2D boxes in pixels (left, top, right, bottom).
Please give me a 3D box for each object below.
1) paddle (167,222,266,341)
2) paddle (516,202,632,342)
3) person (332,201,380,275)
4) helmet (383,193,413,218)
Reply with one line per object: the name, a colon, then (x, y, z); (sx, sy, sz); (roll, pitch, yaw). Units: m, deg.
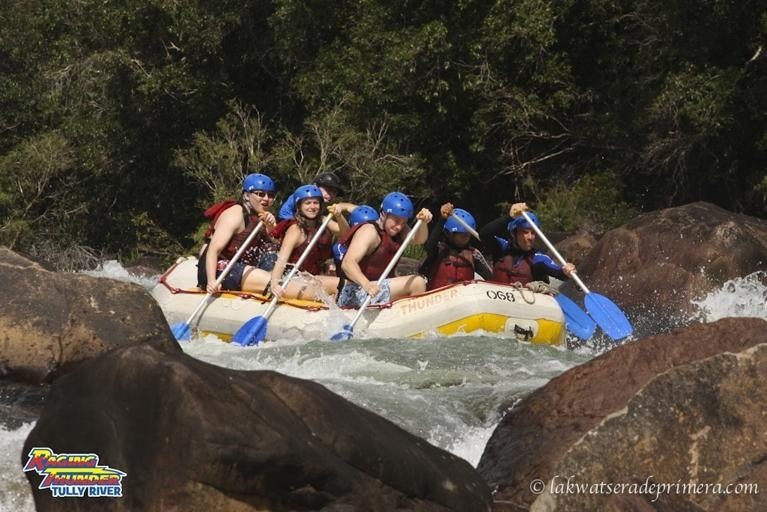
paddle: (-3.110, 0.553, 19.935); (0.611, 3.479, 0.184); (34, -8, 13)
paddle: (3.973, 0.370, 21.474); (4.076, 0.611, 0.220); (53, 8, 32)
person: (-0.527, -0.289, 19.884); (0.824, 1.160, 1.116); (26, -18, -23)
helmet: (0.281, -0.993, 19.702); (0.522, 0.447, 0.412); (34, 21, 34)
